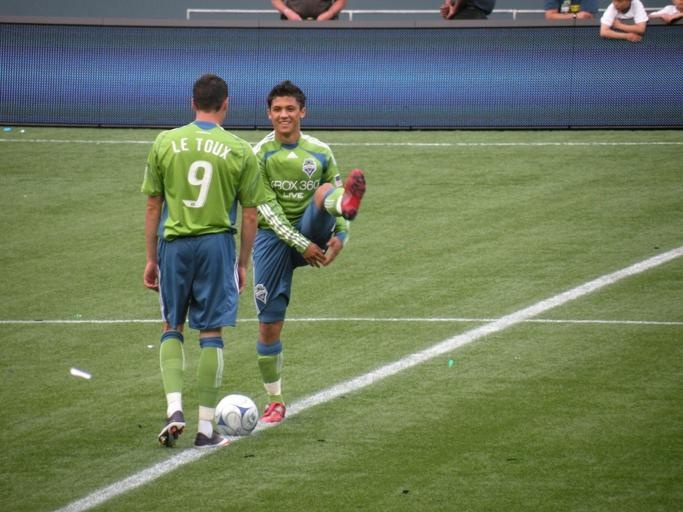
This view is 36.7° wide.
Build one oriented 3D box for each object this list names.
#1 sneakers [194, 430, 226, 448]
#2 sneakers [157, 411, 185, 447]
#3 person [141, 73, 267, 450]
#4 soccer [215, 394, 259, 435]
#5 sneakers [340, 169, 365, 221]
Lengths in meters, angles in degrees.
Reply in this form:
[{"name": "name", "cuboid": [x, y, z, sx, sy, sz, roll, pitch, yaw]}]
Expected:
[{"name": "sneakers", "cuboid": [-0.923, 1.294, 7.282, 0.227, 0.091, 0.094, -2, 3, -34]}, {"name": "sneakers", "cuboid": [-1.180, 1.203, 7.169, 0.128, 0.320, 0.166, 26, 44, -12]}, {"name": "person", "cuboid": [-0.978, 0.027, 7.317, 0.838, 2.548, 0.933, -1, 14, -11]}, {"name": "soccer", "cuboid": [-0.771, 1.159, 7.489, 0.287, 0.272, 0.275, 12, 46, -20]}, {"name": "sneakers", "cuboid": [0.085, -0.448, 7.596, 0.151, 0.375, 0.172, 9, 5, -5]}]
